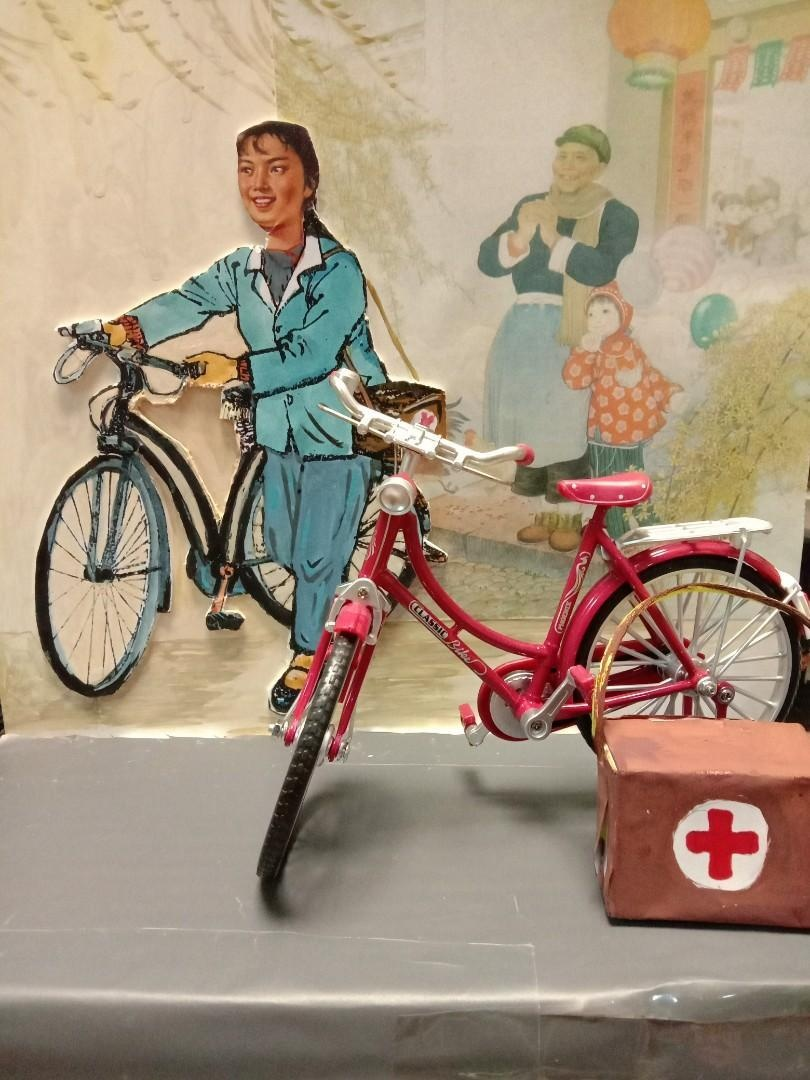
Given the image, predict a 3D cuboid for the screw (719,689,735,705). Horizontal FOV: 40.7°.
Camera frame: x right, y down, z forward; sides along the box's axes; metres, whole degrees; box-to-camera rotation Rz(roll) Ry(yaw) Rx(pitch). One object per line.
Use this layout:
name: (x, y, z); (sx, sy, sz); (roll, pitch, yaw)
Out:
screw: (0.826, 0.400, 2.813); (0.051, 0.040, 0.013); (-11, 14, -8)
